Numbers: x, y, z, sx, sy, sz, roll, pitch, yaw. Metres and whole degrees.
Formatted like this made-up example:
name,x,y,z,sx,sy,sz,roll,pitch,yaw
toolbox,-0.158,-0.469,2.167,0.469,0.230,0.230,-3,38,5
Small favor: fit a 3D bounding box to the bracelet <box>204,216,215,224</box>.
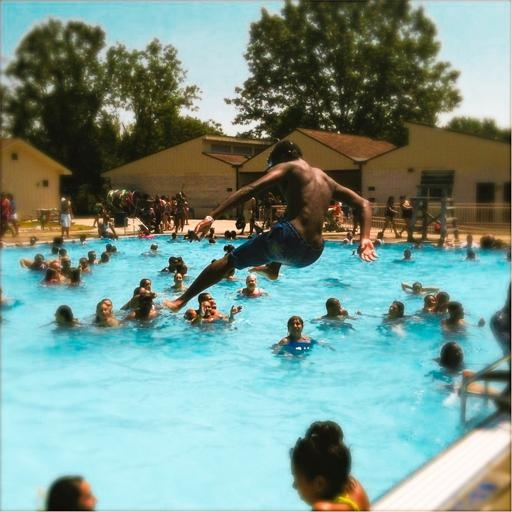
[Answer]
name,x,y,z,sx,sy,sz,roll,pitch,yaw
bracelet,-0.424,-0.330,5.167,0.071,0.047,0.085,15,4,-27
